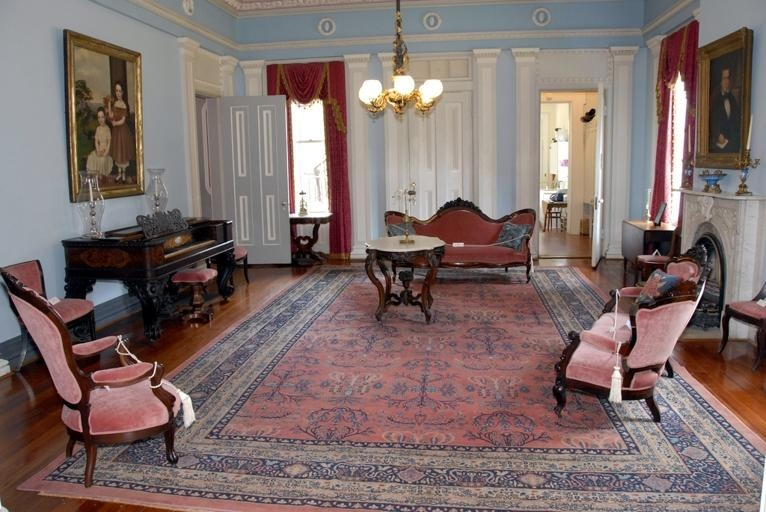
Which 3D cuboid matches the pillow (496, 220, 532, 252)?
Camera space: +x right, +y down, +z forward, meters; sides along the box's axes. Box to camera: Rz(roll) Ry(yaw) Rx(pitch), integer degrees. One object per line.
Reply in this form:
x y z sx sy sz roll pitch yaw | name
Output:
2.215 -0.315 8.195 0.522 0.427 0.330 0 12 15 | pillow

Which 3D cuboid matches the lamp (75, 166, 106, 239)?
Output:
-3.534 -0.624 5.850 0.286 0.761 0.586 -11 14 -31 | lamp

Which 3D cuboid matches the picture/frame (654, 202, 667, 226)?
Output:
4.680 -0.686 8.141 0.137 0.375 0.382 10 15 17 | picture/frame

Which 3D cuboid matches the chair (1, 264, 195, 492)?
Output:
-2.057 0.862 3.620 1.070 1.537 0.516 -8 13 -23 | chair

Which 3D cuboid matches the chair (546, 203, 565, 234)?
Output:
4.936 -1.149 13.836 0.553 0.776 1.850 2 12 20 | chair

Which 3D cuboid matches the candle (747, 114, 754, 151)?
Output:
4.210 -1.402 5.546 0.038 0.390 0.144 7 16 40 | candle

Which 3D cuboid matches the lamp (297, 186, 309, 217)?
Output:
-1.602 -1.059 9.755 0.210 0.462 0.759 -5 12 -9 | lamp
